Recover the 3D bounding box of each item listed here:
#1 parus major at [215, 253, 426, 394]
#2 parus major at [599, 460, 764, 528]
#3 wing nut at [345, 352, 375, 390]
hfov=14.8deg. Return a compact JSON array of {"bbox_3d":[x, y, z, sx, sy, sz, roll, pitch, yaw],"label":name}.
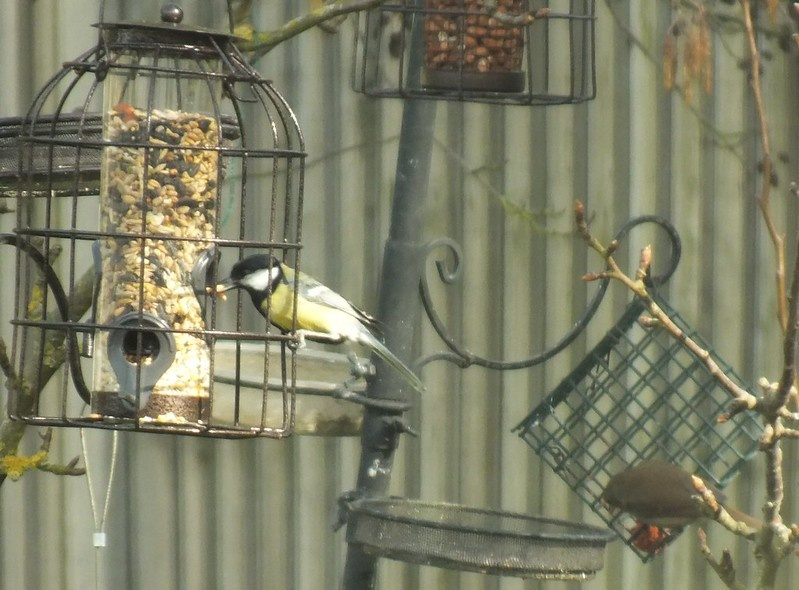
[{"bbox_3d":[-0.345,0.052,12.241,0.844,0.381,0.301,7,-4,-21],"label":"parus major"},{"bbox_3d":[1.145,0.820,12.327,0.654,0.243,0.292,-4,-68,11],"label":"parus major"},{"bbox_3d":[-0.136,0.297,11.971,0.055,0.135,0.132,20,-63,5],"label":"wing nut"}]
